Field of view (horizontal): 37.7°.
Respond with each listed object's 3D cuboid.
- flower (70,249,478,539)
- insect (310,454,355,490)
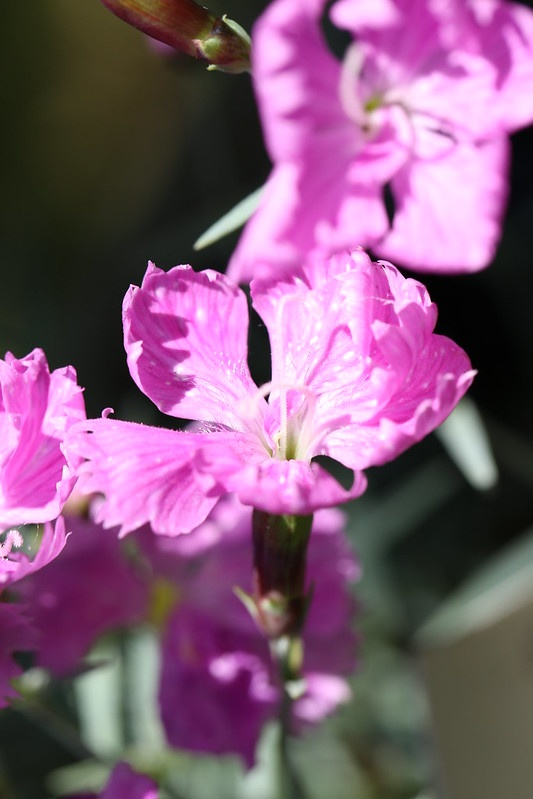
[{"bbox_3d":[0.017,-0.005,0.338,0.175,0.083,0.140,-13,31,-26],"label":"flower"},{"bbox_3d":[0.039,0.044,0.470,0.027,0.027,0.012,-2,18,25],"label":"insect"}]
